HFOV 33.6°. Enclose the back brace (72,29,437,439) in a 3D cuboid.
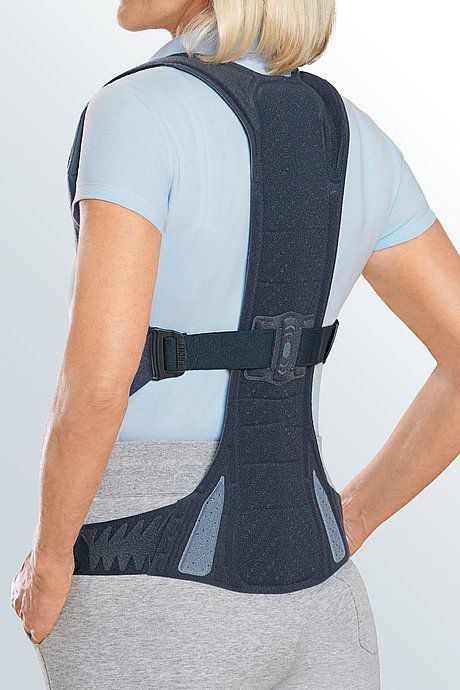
[{"bbox_3d":[-0.015,-0.121,1.116,0.642,0.568,0.332,-6,10,-43],"label":"back brace"}]
